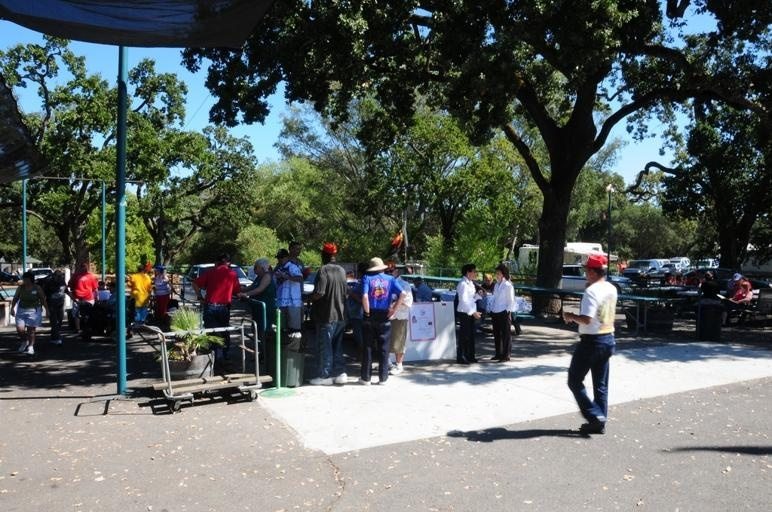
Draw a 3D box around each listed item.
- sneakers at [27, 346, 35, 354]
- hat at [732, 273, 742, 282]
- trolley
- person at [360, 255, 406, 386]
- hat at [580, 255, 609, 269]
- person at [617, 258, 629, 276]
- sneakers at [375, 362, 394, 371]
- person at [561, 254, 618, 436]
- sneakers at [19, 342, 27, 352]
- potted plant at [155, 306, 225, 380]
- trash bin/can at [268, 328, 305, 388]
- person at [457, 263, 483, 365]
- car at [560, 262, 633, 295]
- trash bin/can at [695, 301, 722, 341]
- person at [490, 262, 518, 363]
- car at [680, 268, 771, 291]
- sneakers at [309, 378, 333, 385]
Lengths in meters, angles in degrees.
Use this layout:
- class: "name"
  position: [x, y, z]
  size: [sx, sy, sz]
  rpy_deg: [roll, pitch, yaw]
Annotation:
- class: "sneakers"
  position: [-8.905, 2.388, 17.398]
  size: [0.118, 0.146, 0.336]
  rpy_deg: [1, -11, -23]
- class: "hat"
  position: [11.714, 0.723, 23.038]
  size: [0.300, 0.202, 0.436]
  rpy_deg: [-15, -1, 35]
- class: "trolley"
  position: [-3.571, 2.128, 13.855]
  size: [2.441, 1.638, 1.423]
  rpy_deg: [-4, 0, -28]
- class: "person"
  position: [-0.099, 1.392, 14.682]
  size: [0.863, 2.641, 0.913]
  rpy_deg: [3, 11, 17]
- class: "hat"
  position: [3.738, 0.115, 12.439]
  size: [0.315, 0.184, 0.457]
  rpy_deg: [1, 2, 0]
- class: "person"
  position: [22.669, 1.100, 66.238]
  size: [1.499, 1.180, 3.391]
  rpy_deg: [3, 9, 24]
- class: "sneakers"
  position: [-0.027, 2.441, 15.373]
  size: [0.372, 0.172, 0.239]
  rpy_deg: [-2, -3, 3]
- class: "person"
  position: [3.676, 1.544, 12.312]
  size: [0.729, 3.061, 0.984]
  rpy_deg: [4, 11, 20]
- class: "sneakers"
  position: [-9.334, 2.361, 17.843]
  size: [0.164, 0.154, 0.355]
  rpy_deg: [3, 25, -14]
- class: "potted plant"
  position: [-3.998, 1.734, 14.150]
  size: [1.305, 1.404, 1.341]
  rpy_deg: [1, 2, 15]
- class: "trash bin/can"
  position: [-2.047, 2.130, 14.288]
  size: [0.702, 1.195, 0.430]
  rpy_deg: [-4, 11, -23]
- class: "person"
  position: [1.919, 1.398, 16.143]
  size: [0.483, 2.301, 0.694]
  rpy_deg: [1, 11, 8]
- class: "car"
  position: [8.254, 0.912, 27.475]
  size: [3.167, 1.443, 1.558]
  rpy_deg: [-3, 1, 18]
- class: "trash bin/can"
  position: [8.999, 1.752, 19.201]
  size: [0.595, 1.148, 0.569]
  rpy_deg: [4, 11, 20]
- class: "person"
  position: [2.804, 1.383, 16.532]
  size: [0.500, 2.312, 0.691]
  rpy_deg: [2, 11, 10]
- class: "car"
  position: [15.882, 1.101, 32.416]
  size: [2.735, 0.991, 1.259]
  rpy_deg: [-3, 1, -7]
- class: "sneakers"
  position: [-1.341, 2.646, 14.518]
  size: [0.376, 0.159, 0.194]
  rpy_deg: [4, -7, -5]
